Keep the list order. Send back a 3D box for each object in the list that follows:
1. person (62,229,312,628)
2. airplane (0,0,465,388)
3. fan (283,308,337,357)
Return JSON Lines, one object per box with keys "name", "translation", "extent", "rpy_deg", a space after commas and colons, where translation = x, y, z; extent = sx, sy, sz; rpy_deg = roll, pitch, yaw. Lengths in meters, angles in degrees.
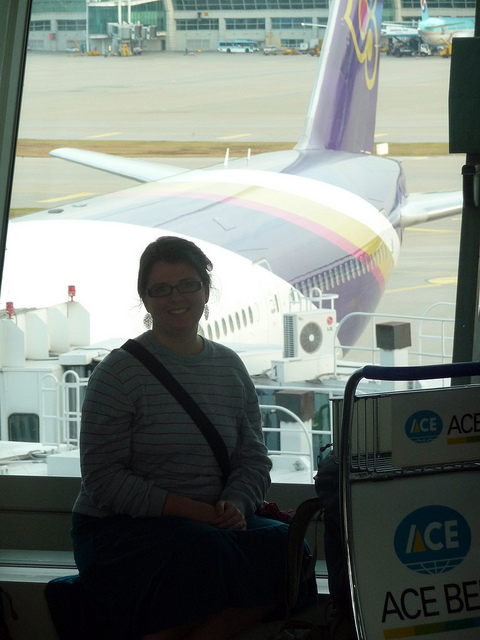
{"name": "person", "translation": [-0.140, 0.330, 2.171], "extent": [0.675, 1.144, 0.499], "rpy_deg": [-1, 3, -12]}
{"name": "airplane", "translation": [-0.609, -1.817, 11.001], "extent": [3.901, 3.285, 8.143], "rpy_deg": [5, 12, 25]}
{"name": "fan", "translation": [0.583, 0.122, 6.585], "extent": [0.213, 0.373, 0.627], "rpy_deg": [1, 4, 38]}
